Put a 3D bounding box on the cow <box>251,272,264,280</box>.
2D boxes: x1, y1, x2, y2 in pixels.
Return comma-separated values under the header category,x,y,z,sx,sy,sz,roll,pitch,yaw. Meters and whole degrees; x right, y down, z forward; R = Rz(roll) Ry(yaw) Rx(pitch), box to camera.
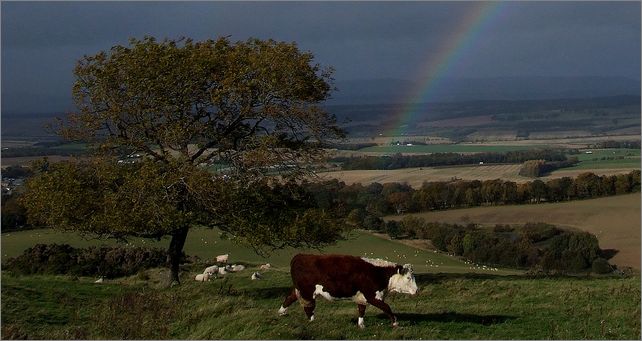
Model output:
category,x,y,z,sx,sy,sz,roll,pitch,yaw
cow,-7.933,12.964,64.889,1.188,0.650,0.595,13,14,16
